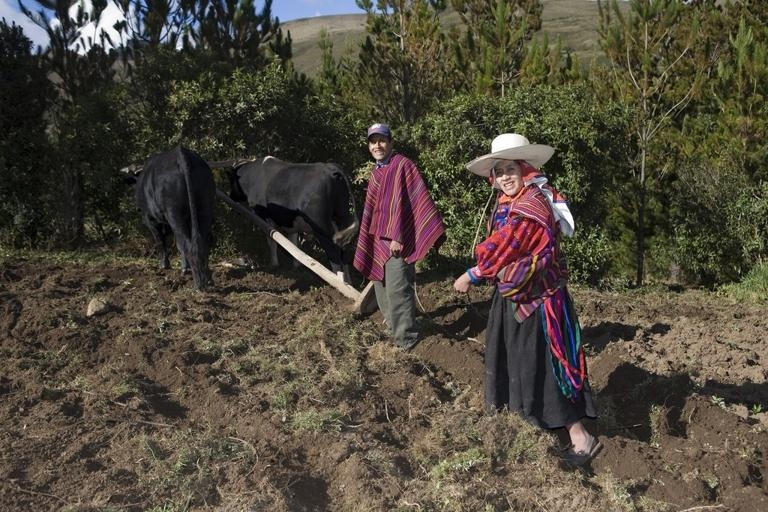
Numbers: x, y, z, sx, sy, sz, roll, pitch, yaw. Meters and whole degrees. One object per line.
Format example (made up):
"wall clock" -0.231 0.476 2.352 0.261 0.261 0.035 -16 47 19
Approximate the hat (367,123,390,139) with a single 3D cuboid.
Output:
"hat" -0.061 -1.749 9.906 0.254 0.209 0.439 -1 -5 3

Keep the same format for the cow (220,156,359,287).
"cow" -1.725 -0.774 13.198 3.730 2.131 1.144 14 25 41

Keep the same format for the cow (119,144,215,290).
"cow" -3.394 -0.745 11.872 0.837 2.182 1.906 -14 17 -31

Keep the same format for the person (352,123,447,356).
"person" 0.162 -0.274 10.129 1.214 3.127 0.632 -4 15 4
